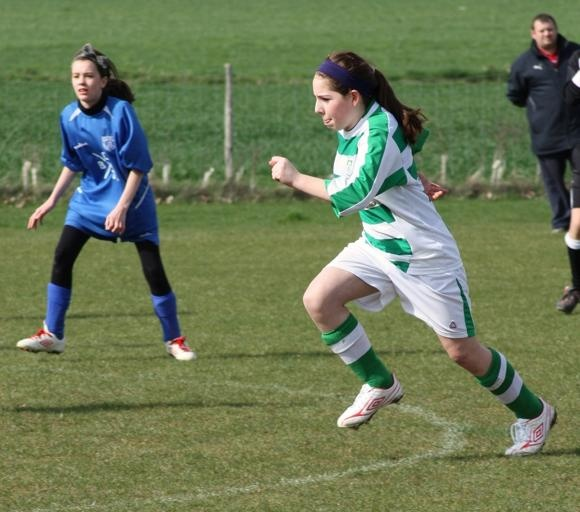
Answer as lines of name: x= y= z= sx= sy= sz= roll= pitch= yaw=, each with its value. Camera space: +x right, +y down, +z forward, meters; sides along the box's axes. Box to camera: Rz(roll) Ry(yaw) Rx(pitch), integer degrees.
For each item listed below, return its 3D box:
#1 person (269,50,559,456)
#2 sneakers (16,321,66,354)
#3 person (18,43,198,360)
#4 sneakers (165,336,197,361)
person: x=0.673 y=-0.007 z=7.821 sx=1.508 sy=2.552 sz=0.421 roll=-3 pitch=9 yaw=4
sneakers: x=-1.829 y=0.621 z=8.831 sx=0.448 sy=0.197 sz=0.134 roll=3 pitch=3 yaw=-14
person: x=-1.340 y=-0.355 z=8.927 sx=1.123 sy=2.296 sz=0.533 roll=-4 pitch=9 yaw=-5
sneakers: x=-0.800 y=0.686 z=9.024 sx=0.125 sy=0.103 sz=0.264 roll=-15 pitch=16 yaw=-41
